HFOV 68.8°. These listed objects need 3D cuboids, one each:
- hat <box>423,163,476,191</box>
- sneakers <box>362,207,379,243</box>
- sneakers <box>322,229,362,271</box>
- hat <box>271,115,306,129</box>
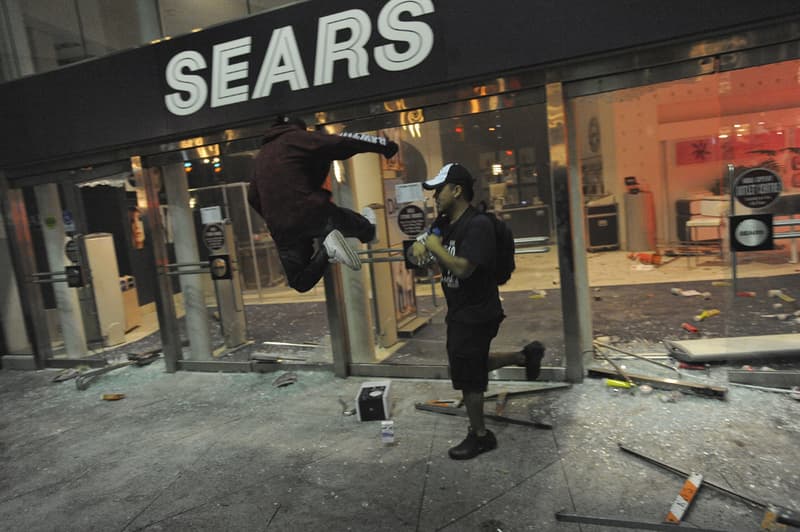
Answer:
[{"bbox_3d":[0.476,-0.858,5.571,0.490,0.180,0.259,3,11,5],"label":"hat"},{"bbox_3d":[-0.318,-0.477,6.233,0.184,0.446,0.205,-1,-15,11],"label":"sneakers"},{"bbox_3d":[-0.597,-0.173,5.953,0.220,0.447,0.152,-34,-14,-49],"label":"sneakers"},{"bbox_3d":[-1.054,-1.402,5.725,0.259,0.057,0.215,2,8,5],"label":"hat"}]
